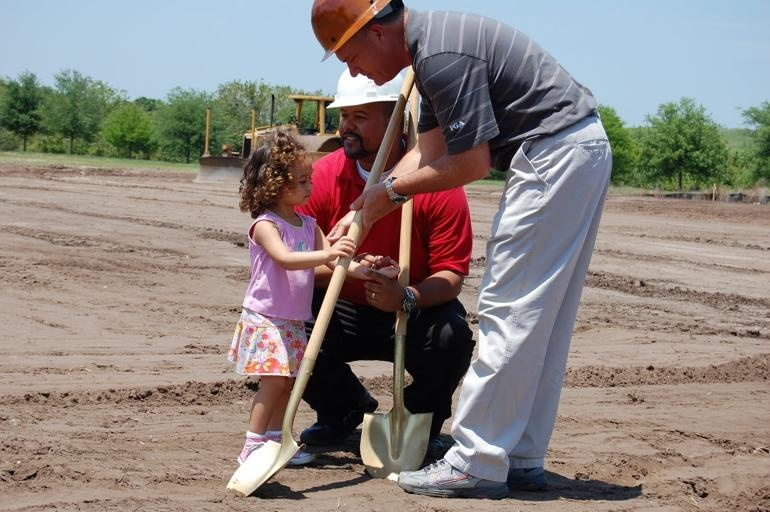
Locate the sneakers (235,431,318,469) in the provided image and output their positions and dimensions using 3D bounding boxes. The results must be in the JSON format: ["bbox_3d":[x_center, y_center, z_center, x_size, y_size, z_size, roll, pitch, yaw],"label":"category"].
[{"bbox_3d":[-0.822,1.464,7.751,0.646,0.224,0.228,1,6,-10],"label":"sneakers"}]

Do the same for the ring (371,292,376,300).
[{"bbox_3d":[-0.078,0.311,7.954,0.035,0.044,0.015,10,44,5],"label":"ring"}]
